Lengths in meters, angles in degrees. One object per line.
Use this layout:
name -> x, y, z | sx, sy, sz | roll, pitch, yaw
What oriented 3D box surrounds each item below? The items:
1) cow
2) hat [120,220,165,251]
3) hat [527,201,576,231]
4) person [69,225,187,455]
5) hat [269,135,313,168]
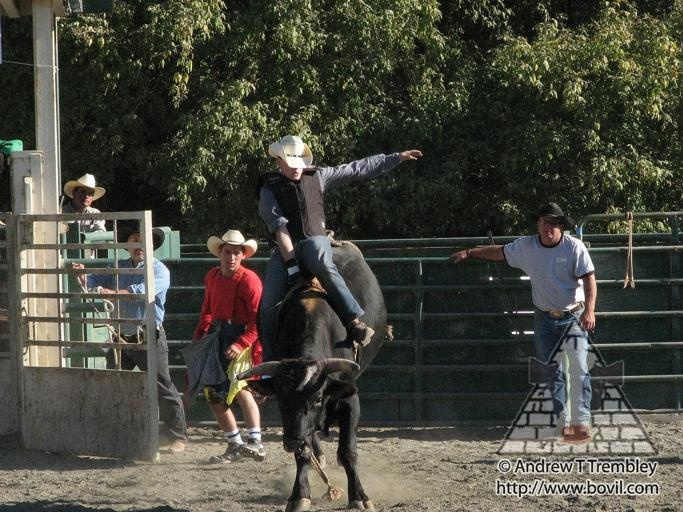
cow -> -0.236, 1.583, 21.979 | 1.239, 3.621, 2.135 | -2, -2, 26
hat -> -2.903, -0.329, 23.665 | 0.360, 0.328, 1.058 | -2, -2, 13
hat -> 3.408, -0.653, 26.492 | 0.509, 0.229, 0.602 | 17, -12, 24
person -> -2.909, 1.214, 23.349 | 1.349, 3.165, 0.854 | -1, -2, -6
hat -> -0.707, -1.474, 22.616 | 0.577, 0.355, 0.685 | 6, 13, -15
